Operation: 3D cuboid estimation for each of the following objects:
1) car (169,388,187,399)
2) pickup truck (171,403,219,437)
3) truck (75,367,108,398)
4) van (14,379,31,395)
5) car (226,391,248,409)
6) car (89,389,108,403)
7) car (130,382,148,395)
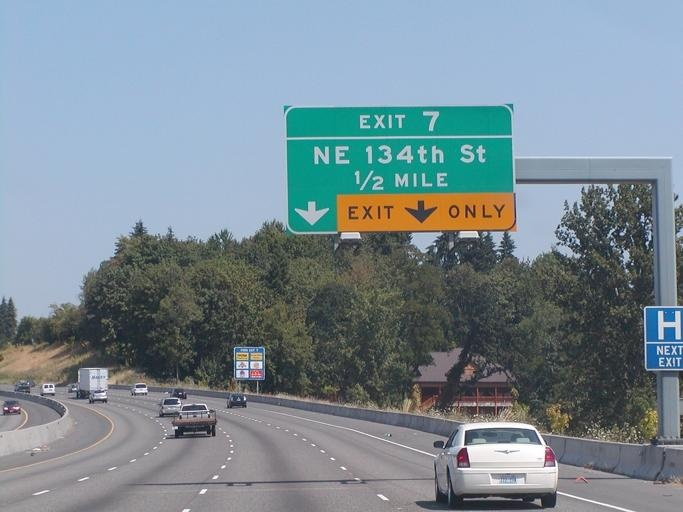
[{"bbox_3d":[-18.399,15.268,164.573,1.123,1.241,2.153,1,1,-11],"label":"car"},{"bbox_3d":[-11.430,12.530,112.745,3.229,2.654,3.943,1,-7,-8],"label":"pickup truck"},{"bbox_3d":[-29.045,14.476,169.382,2.224,3.587,5.505,1,-1,-15],"label":"truck"},{"bbox_3d":[-42.506,16.941,193.706,1.600,1.807,3.525,1,2,-15],"label":"van"},{"bbox_3d":[-10.873,14.652,150.221,1.290,1.380,3.263,0,0,-5],"label":"car"},{"bbox_3d":[-27.324,15.405,163.289,1.844,1.600,1.880,2,-7,-20],"label":"car"},{"bbox_3d":[-24.225,15.629,174.423,1.448,1.486,1.867,3,-8,-28],"label":"car"}]
